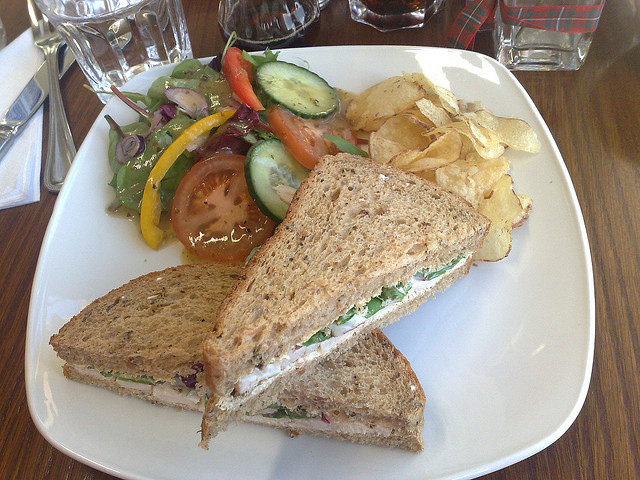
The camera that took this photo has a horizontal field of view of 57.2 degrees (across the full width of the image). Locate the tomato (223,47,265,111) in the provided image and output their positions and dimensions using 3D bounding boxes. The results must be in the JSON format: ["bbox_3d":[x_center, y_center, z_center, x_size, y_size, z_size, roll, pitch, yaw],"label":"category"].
[{"bbox_3d":[-0.365,-0.658,2.537,0.179,0.066,0.299,-20,84,-56],"label":"tomato"}]

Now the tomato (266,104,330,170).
[{"bbox_3d":[-0.063,-0.463,2.374,0.241,0.072,0.286,23,45,-30],"label":"tomato"}]
